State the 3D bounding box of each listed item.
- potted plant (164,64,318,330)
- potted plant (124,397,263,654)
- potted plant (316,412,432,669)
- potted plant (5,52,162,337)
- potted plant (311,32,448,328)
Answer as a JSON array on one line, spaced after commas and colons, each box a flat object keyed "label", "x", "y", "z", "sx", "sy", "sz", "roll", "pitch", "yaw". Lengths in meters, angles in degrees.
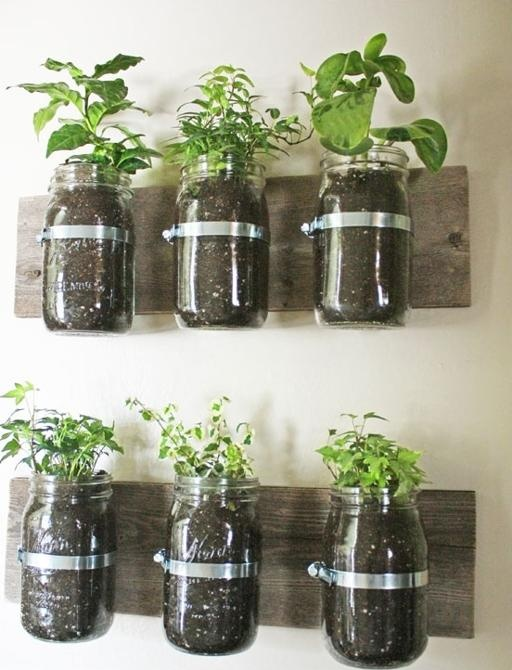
[{"label": "potted plant", "x": -0.038, "y": -0.201, "z": 1.015, "sx": 0.219, "sy": 0.392, "sz": 0.199, "roll": 0, "pitch": -4, "yaw": 8}, {"label": "potted plant", "x": -0.081, "y": 0.242, "z": 1.005, "sx": 0.177, "sy": 0.309, "sz": 0.262, "roll": 3, "pitch": -4, "yaw": -23}, {"label": "potted plant", "x": 0.137, "y": 0.256, "z": 0.884, "sx": 0.124, "sy": 0.272, "sz": 0.097, "roll": -2, "pitch": -5, "yaw": 35}, {"label": "potted plant", "x": -0.262, "y": -0.220, "z": 1.075, "sx": 0.227, "sy": 0.443, "sz": 0.251, "roll": 2, "pitch": -4, "yaw": -11}, {"label": "potted plant", "x": 0.152, "y": -0.213, "z": 0.941, "sx": 0.178, "sy": 0.408, "sz": 0.207, "roll": 1, "pitch": -4, "yaw": 3}]
